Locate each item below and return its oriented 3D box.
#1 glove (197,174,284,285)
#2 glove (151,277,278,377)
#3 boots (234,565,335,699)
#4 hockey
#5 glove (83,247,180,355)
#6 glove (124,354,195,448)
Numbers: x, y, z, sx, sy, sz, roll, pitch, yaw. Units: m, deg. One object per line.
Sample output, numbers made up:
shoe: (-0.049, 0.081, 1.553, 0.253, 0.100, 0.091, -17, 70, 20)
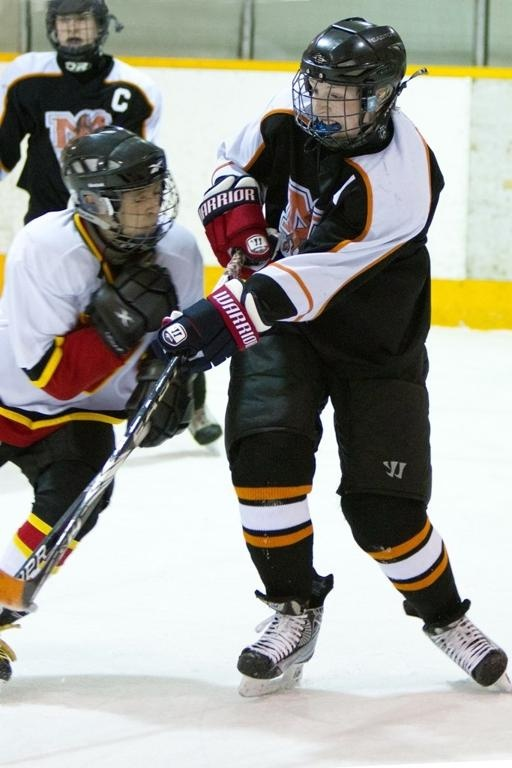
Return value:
glove: (-0.026, -0.299, 1.515, 0.159, 0.198, 0.083, -24, -6, 3)
glove: (-0.072, -0.102, 1.238, 0.204, 0.109, 0.075, -36, 35, -3)
boots: (0.074, 0.492, 1.442, 0.092, 0.147, 0.296, 5, 0, 21)
hockey: (-0.268, 0.154, 1.191, 0.204, 0.383, 0.212, 6, -9, -35)
glove: (-0.199, -0.144, 1.364, 0.132, 0.183, 0.066, 45, -4, 11)
glove: (-0.170, 0.016, 1.384, 0.123, 0.069, 0.174, 16, 50, -2)
